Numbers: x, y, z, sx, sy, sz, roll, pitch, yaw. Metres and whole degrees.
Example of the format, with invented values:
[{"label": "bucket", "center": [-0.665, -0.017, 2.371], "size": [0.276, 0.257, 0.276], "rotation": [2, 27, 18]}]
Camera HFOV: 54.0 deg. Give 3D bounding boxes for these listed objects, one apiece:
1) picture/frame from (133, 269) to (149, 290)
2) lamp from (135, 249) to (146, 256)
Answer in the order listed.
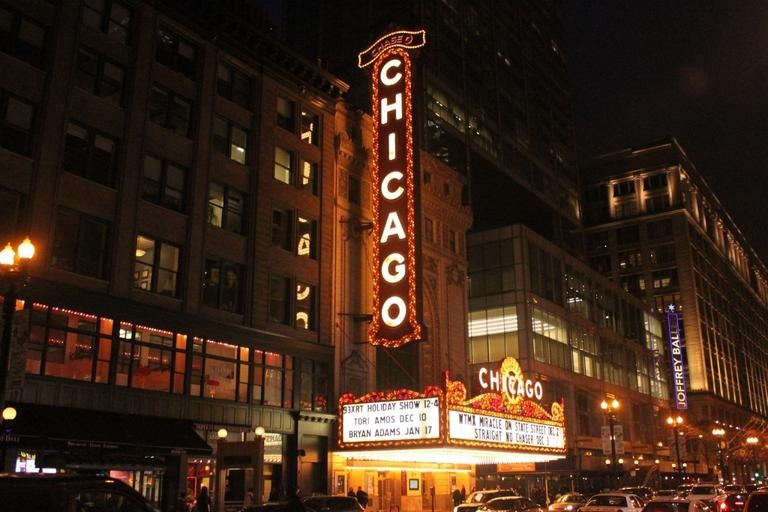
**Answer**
[{"label": "picture/frame", "center": [-13.567, 1.346, 41.768], "size": [0.047, 1.195, 0.999], "rotation": [-12, -14, 35]}, {"label": "lamp", "center": [-13.622, -0.148, 42.087], "size": [0.325, 0.330, 0.089], "rotation": [-5, -42, -37]}]
